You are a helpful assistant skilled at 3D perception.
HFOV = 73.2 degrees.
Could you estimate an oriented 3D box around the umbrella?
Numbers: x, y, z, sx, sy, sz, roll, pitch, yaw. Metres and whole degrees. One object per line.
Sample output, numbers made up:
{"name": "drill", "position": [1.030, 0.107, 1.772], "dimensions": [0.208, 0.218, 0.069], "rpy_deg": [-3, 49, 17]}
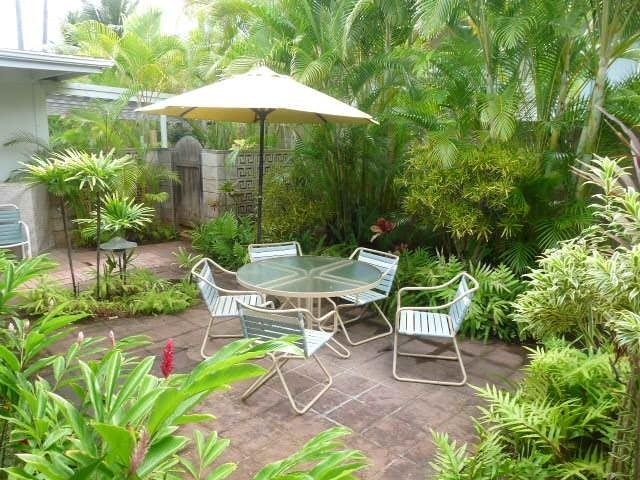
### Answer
{"name": "umbrella", "position": [-0.761, -0.982, 5.622], "dimensions": [2.675, 2.148, 2.551], "rpy_deg": [-11, 25, -37]}

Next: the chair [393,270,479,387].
{"name": "chair", "position": [1.138, 0.860, 4.438], "dimensions": [0.902, 0.965, 0.853], "rpy_deg": [3, 9, 21]}
